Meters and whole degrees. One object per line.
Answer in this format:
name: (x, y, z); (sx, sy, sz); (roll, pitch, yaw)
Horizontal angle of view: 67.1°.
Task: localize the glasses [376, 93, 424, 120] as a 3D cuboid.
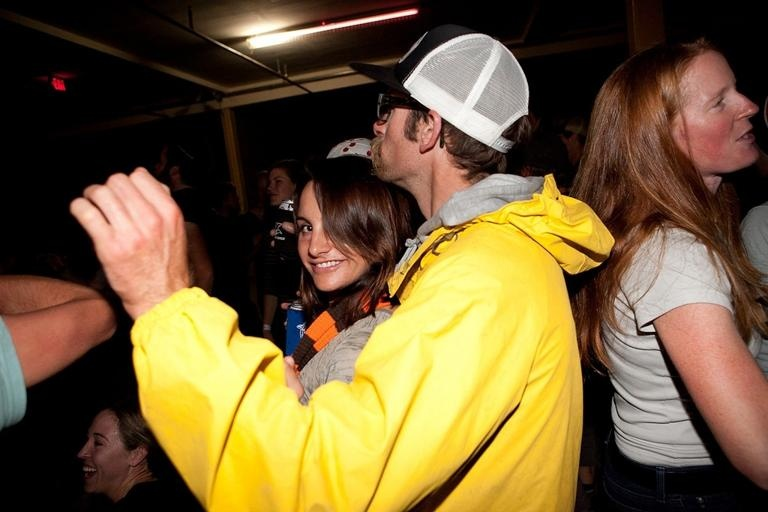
glasses: (0.060, -0.791, 3.091); (0.171, 0.052, 0.170); (12, 23, 7)
